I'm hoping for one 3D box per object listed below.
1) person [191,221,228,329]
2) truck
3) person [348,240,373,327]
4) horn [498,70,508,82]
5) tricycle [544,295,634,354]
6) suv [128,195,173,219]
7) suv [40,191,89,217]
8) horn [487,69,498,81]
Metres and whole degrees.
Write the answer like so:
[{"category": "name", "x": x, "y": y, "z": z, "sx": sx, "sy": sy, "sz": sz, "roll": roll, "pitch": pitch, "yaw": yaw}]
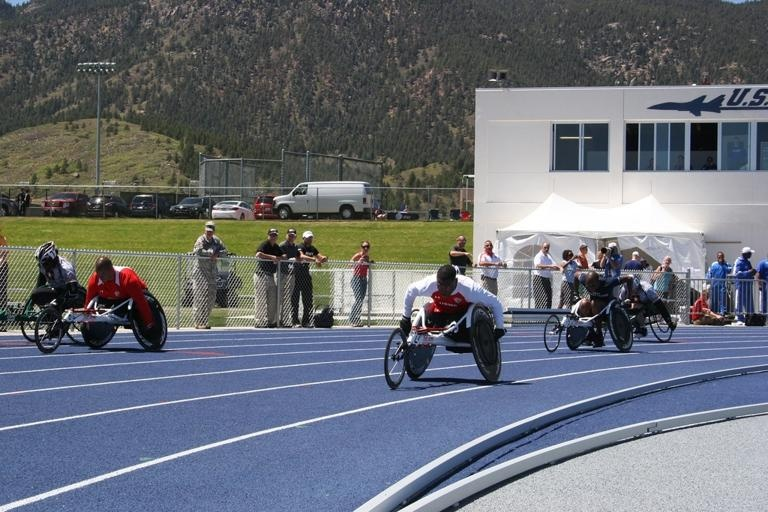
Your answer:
[{"category": "person", "x": -4.559, "y": 0.505, "z": 29.255, "sx": 0.849, "sy": 2.800, "sz": 0.795, "roll": 0, "pitch": -1, "yaw": 1}, {"category": "truck", "x": -3.564, "y": -3.011, "z": 62.781, "sx": 5.168, "sy": 2.109, "sz": 2.536, "roll": 0, "pitch": 1, "yaw": 8}, {"category": "person", "x": -0.721, "y": 0.801, "z": 32.120, "sx": 0.625, "sy": 2.389, "sz": 0.906, "roll": 0, "pitch": 1, "yaw": -2}, {"category": "horn", "x": 4.562, "y": -7.060, "z": 44.213, "sx": 0.424, "sy": 0.454, "sz": 0.446, "roll": -1, "pitch": 0, "yaw": 26}, {"category": "tricycle", "x": 4.743, "y": 1.628, "z": 26.502, "sx": 2.032, "sy": 1.332, "sz": 1.046, "roll": 0, "pitch": 2, "yaw": 7}, {"category": "suv", "x": -13.533, "y": -2.877, "z": 64.808, "sx": 2.147, "sy": 1.353, "sz": 2.952, "roll": -1, "pitch": 2, "yaw": -9}, {"category": "suv", "x": -17.948, "y": -2.902, "z": 63.956, "sx": 1.238, "sy": 1.063, "sz": 2.251, "roll": -1, "pitch": -3, "yaw": 8}, {"category": "horn", "x": 4.252, "y": -7.110, "z": 44.708, "sx": 0.475, "sy": 0.521, "sz": 0.491, "roll": 1, "pitch": 0, "yaw": 43}]
